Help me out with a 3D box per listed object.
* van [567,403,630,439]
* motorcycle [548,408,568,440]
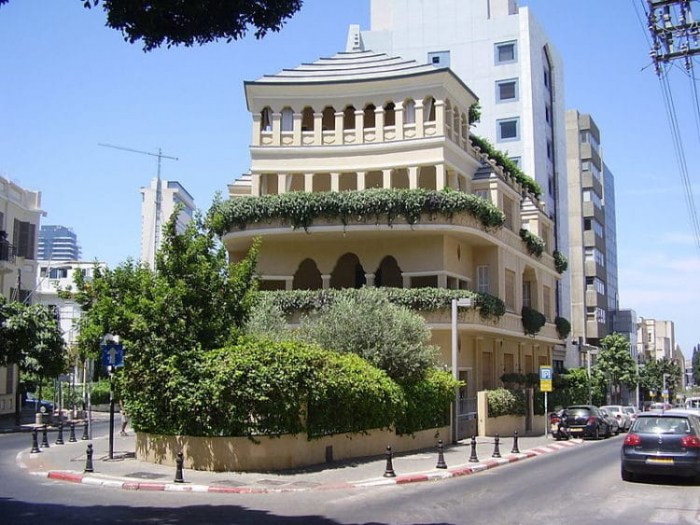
[{"bbox_3d":[13.056,8.555,42.740,1.877,1.511,4.091,-4,-6,30],"label":"van"},{"bbox_3d":[10.983,8.453,41.028,0.975,1.398,2.108,2,-4,15],"label":"motorcycle"}]
